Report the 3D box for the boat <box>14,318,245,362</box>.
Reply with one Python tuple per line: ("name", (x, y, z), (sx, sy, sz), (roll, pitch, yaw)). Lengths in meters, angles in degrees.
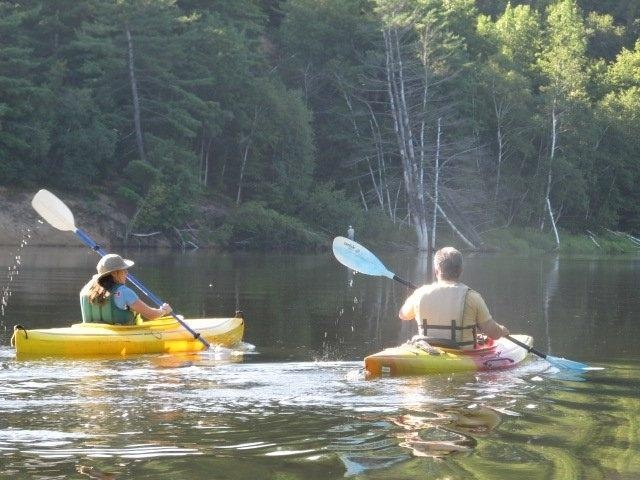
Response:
("boat", (-5.164, 2.906, 33.523), (6.496, 1.135, 2.128), (3, -12, -15))
